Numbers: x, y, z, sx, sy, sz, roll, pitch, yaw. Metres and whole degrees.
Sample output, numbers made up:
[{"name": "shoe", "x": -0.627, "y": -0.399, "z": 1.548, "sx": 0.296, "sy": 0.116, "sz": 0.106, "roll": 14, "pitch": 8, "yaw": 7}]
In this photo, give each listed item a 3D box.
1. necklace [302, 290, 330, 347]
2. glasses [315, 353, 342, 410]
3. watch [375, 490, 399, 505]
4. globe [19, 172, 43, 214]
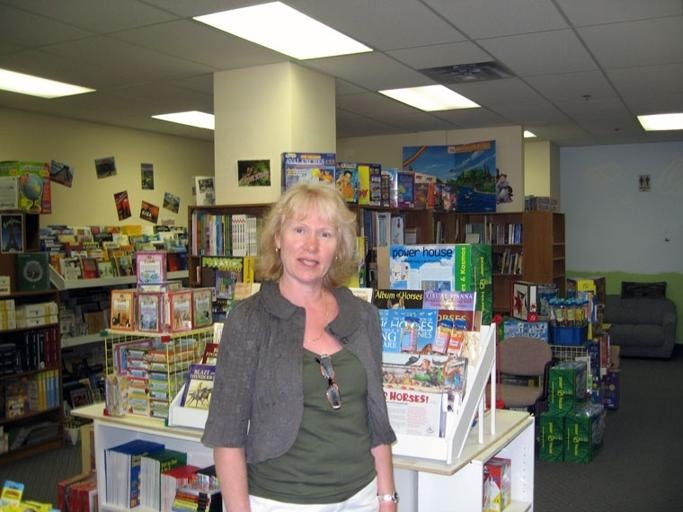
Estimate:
[{"name": "necklace", "x": -0.098, "y": 0.256, "z": 2.141, "sx": 0.132, "sy": 0.203, "sz": 0.061, "roll": 5, "pitch": -8, "yaw": -22}, {"name": "glasses", "x": -0.051, "y": 0.485, "z": 2.029, "sx": 0.065, "sy": 0.240, "sz": 0.055, "roll": -10, "pitch": -10, "yaw": -7}, {"name": "watch", "x": 0.188, "y": 0.992, "z": 2.210, "sx": 0.077, "sy": 0.052, "sz": 0.083, "roll": -2, "pitch": -7, "yaw": -12}, {"name": "globe", "x": -3.642, "y": -0.738, "z": 6.339, "sx": 0.238, "sy": 0.423, "sz": 0.257, "roll": 6, "pitch": 5, "yaw": 25}]
